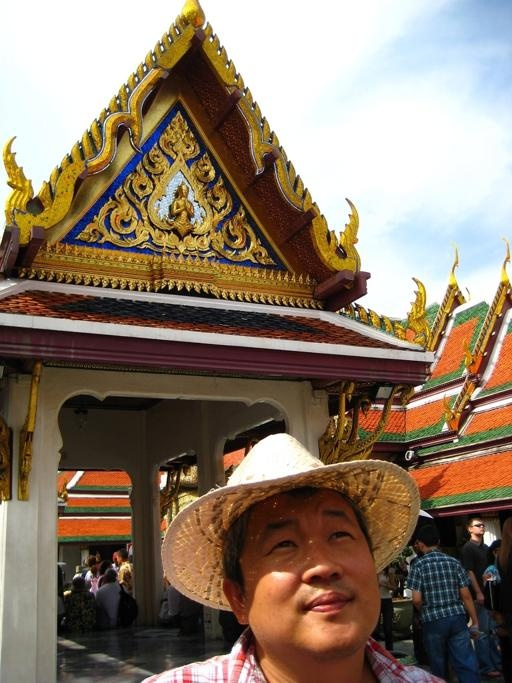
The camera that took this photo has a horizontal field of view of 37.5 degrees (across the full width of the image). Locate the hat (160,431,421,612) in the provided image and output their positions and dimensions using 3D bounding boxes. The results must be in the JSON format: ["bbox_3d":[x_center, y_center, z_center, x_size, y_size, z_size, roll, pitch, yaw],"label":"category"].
[{"bbox_3d":[0.050,0.329,1.695,0.530,0.237,0.500,6,-40,-15],"label":"hat"}]

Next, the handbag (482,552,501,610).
[{"bbox_3d":[2.038,2.125,6.561,0.155,0.455,0.118,0,16,20],"label":"handbag"}]

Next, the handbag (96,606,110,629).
[{"bbox_3d":[-2.096,3.744,10.280,0.088,0.225,0.326,-6,-3,-36],"label":"handbag"}]

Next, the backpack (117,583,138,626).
[{"bbox_3d":[-1.722,3.532,10.089,0.272,0.386,0.316,-8,-3,-11],"label":"backpack"}]
